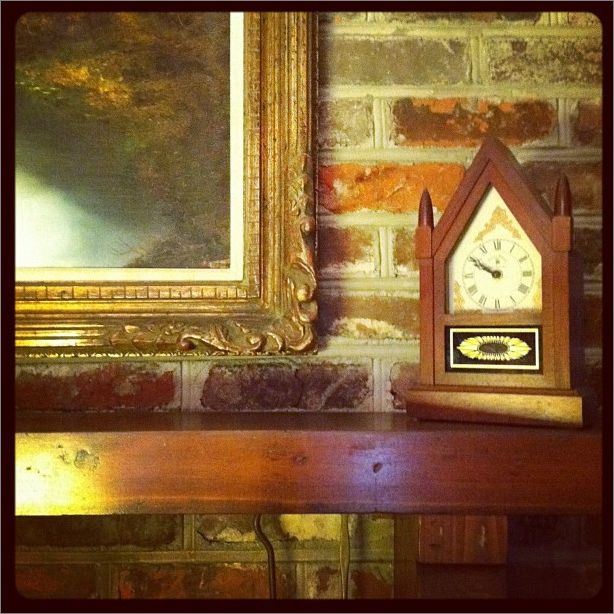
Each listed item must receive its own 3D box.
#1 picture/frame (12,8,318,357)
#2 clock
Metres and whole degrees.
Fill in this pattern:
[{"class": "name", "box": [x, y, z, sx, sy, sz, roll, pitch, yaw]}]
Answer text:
[{"class": "picture/frame", "box": [-0.253, -0.213, 2.498, 0.519, 0.594, 0.042, 0, -1, 1]}, {"class": "clock", "box": [0.305, -0.037, 2.399, 0.288, 0.498, 0.130, 0, -18, 11]}]
